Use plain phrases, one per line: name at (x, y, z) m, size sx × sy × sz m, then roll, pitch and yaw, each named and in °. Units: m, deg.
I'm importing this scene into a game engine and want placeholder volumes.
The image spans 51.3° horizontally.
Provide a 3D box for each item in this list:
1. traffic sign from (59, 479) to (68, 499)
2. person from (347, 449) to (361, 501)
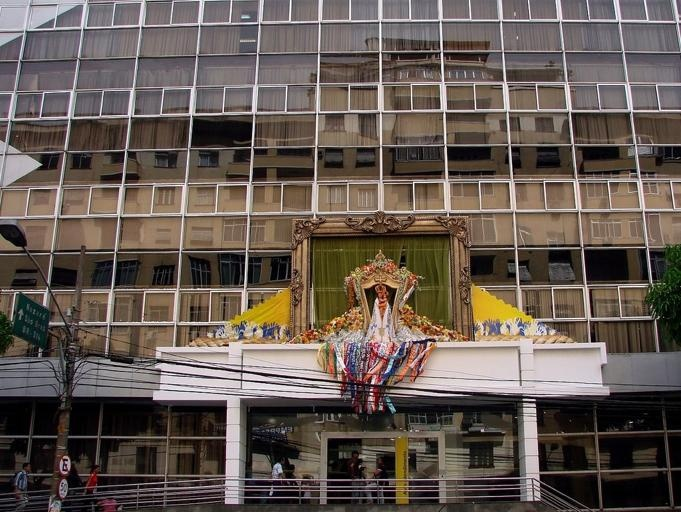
traffic sign at (-9.944, 8.355, 25.483) m, size 0.258 × 0.685 × 0.803 m, roll 4°, pitch -21°, yaw -12°
person at (0.608, 9.200, 29.554) m, size 0.666 × 2.012 × 0.607 m, roll -5°, pitch -6°, yaw 34°
